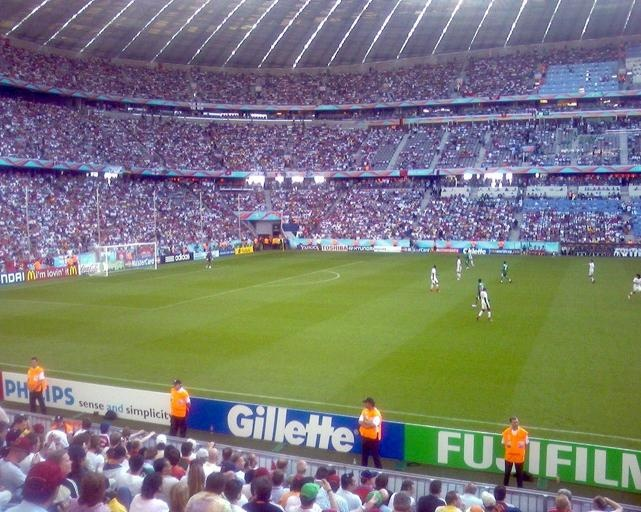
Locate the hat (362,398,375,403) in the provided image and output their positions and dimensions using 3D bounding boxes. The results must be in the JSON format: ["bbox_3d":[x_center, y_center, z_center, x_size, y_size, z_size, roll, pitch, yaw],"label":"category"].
[{"bbox_3d":[1.520,4.438,21.151,0.262,0.188,0.674,5,-14,0],"label":"hat"}]

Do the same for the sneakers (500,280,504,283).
[{"bbox_3d":[12.230,1.741,46.355,0.236,0.136,0.257,0,15,28],"label":"sneakers"}]

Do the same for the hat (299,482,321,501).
[{"bbox_3d":[-0.242,5.473,16.052,0.400,0.363,0.271,5,-14,-3],"label":"hat"}]
